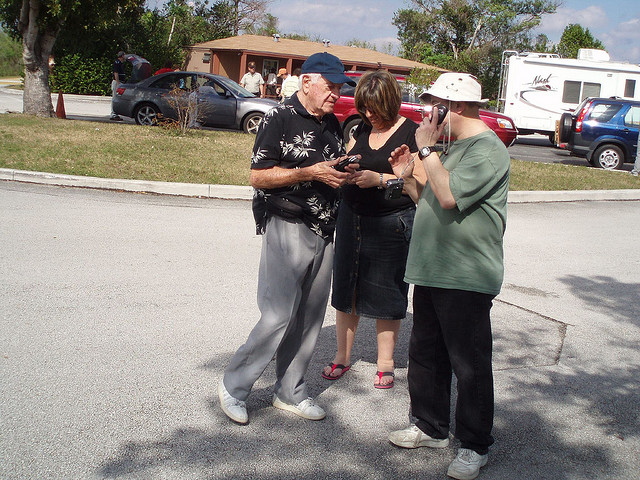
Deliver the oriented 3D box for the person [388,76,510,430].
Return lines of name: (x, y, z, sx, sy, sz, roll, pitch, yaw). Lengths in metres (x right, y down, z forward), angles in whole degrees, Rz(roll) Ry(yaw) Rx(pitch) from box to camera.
person: (0.781, 0.169, 3.090, 0.697, 2.298, 0.774, 6, 15, 13)

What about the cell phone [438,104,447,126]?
cell phone: (0.706, -0.722, 2.875, 0.051, 0.113, 0.092, 7, 15, 19)

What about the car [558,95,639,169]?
car: (9.574, -3.740, 17.142, 3.066, 1.793, 1.755, -6, 16, 1)

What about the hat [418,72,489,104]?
hat: (0.861, -0.891, 2.920, 0.304, 0.143, 0.341, 5, 9, 36)

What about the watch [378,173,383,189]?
watch: (0.441, -0.422, 3.619, 0.032, 0.116, 0.088, 4, 15, 7)

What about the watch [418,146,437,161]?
watch: (0.607, -0.503, 2.810, 0.073, 0.058, 0.078, -3, -16, -31)

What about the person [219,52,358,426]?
person: (-0.214, 0.010, 3.302, 0.944, 2.438, 0.595, -4, 15, -22)

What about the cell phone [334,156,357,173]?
cell phone: (0.156, -0.467, 3.087, 0.139, 0.038, 0.079, -32, -30, 26)

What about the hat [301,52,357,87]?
hat: (0.051, -1.126, 3.241, 0.352, 0.203, 0.251, 17, 14, 28)
